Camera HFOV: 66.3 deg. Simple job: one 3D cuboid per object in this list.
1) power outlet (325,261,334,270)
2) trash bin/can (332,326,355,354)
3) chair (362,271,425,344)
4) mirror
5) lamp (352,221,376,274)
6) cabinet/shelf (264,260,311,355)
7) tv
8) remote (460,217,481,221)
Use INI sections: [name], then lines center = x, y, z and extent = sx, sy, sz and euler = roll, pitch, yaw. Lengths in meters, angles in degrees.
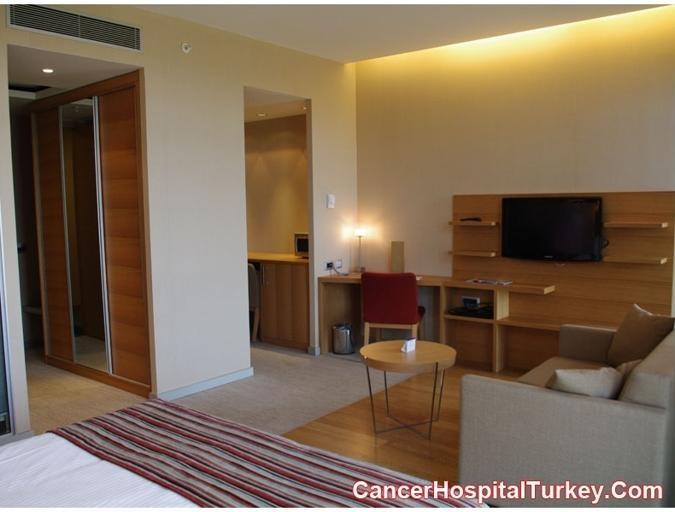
[power outlet]
center = -0.095, 0.115, 5.999
extent = 0.014, 0.068, 0.100
euler = 3, 6, 41
[trash bin/can]
center = 0.063, 0.973, 6.015
extent = 0.315, 0.302, 0.257
euler = 2, 3, 21
[chair]
center = 0.617, 0.616, 5.433
extent = 0.724, 0.945, 0.695
euler = -1, 7, 3
[mirror]
center = -2.395, -0.173, 4.943
extent = 0.637, 2.573, 0.180
euler = 6, 9, 42
[lamp]
center = 0.318, -0.103, 6.340
extent = 0.169, 0.592, 0.260
euler = -7, 10, -44
[cabinet/shelf]
center = -0.464, 0.572, 6.345
extent = 0.784, 0.982, 0.551
euler = 3, 6, 36
[tv]
center = 2.097, -0.271, 5.110
extent = 0.905, 0.611, 0.079
euler = 3, 15, 30
[remote]
center = 1.429, -0.387, 5.532
extent = 0.213, 0.055, 0.069
euler = -6, 3, 9
